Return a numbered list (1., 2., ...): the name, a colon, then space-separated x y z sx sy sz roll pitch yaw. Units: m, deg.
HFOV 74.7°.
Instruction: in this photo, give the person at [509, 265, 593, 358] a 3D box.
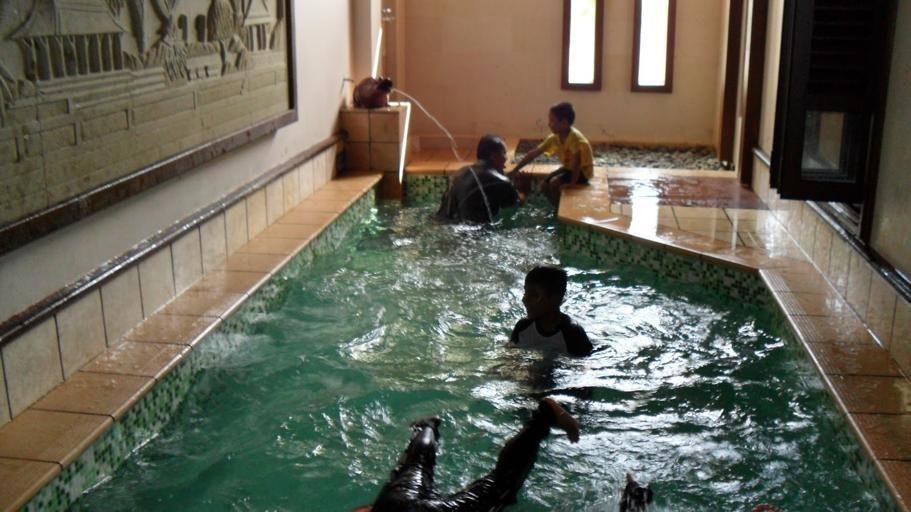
1. person: 0.676 0.420 4.466 0.415 0.685 0.777 -4 8 -35
